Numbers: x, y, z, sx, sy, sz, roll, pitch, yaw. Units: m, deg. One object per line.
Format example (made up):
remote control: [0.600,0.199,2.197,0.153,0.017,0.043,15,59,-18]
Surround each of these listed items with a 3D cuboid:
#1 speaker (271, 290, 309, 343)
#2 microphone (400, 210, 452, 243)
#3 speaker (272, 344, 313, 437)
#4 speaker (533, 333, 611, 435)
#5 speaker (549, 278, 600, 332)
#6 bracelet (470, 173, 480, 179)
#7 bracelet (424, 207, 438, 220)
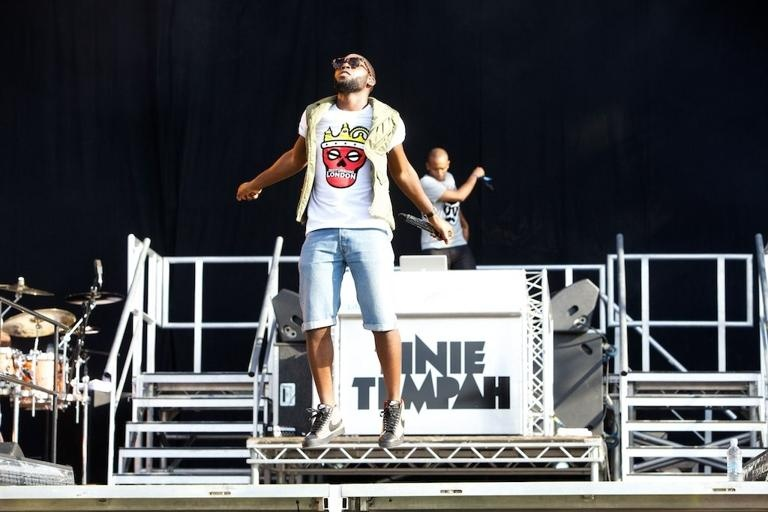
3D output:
speaker: [-0.853,0.530,14.958,0.297,0.481,0.279,-1,5,1]
microphone: [0.364,-0.268,14.872,0.437,0.195,0.095,21,-40,16]
speaker: [-0.813,1.165,14.965,0.387,0.814,0.317,-2,1,0]
speaker: [1.715,1.102,14.929,0.460,0.880,0.155,0,-13,4]
speaker: [1.682,0.440,15.075,0.365,0.495,0.217,40,-1,0]
bracelet: [0.854,-0.771,16.102,0.054,0.051,0.083,1,8,16]
bracelet: [0.361,-0.341,13.327,0.080,0.032,0.083,-47,-15,23]
